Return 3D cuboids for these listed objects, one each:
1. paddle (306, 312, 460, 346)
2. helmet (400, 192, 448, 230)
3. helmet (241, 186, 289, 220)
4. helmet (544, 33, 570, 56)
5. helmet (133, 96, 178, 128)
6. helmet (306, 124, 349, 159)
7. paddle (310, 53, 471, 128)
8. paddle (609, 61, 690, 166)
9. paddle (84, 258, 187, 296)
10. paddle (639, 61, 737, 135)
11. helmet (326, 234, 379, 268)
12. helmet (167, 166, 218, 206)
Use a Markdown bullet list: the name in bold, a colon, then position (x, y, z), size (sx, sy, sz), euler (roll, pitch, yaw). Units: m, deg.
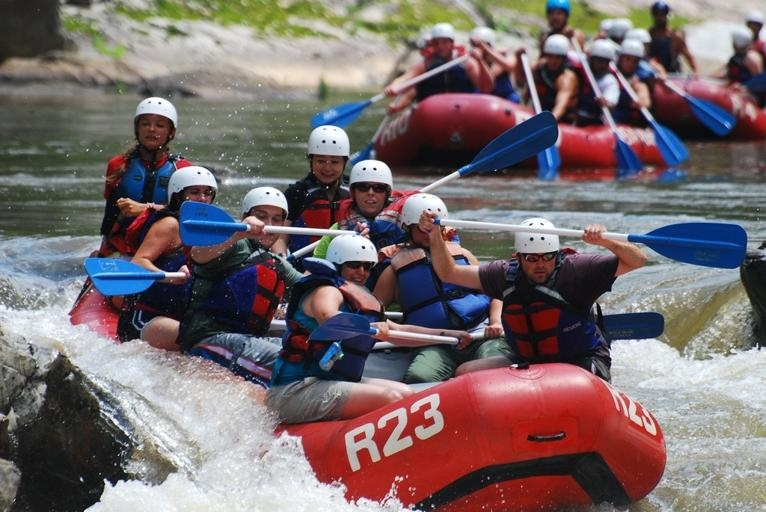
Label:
- **paddle**: position (0.087, 0.664, 10.164), size (1.531, 0.370, 0.077), euler (6, 40, -26)
- **helmet**: position (0.440, -0.434, 10.944), size (0.316, 0.406, 0.302), euler (6, 62, -38)
- **helmet**: position (-1.190, -0.505, 11.192), size (0.298, 0.358, 0.281), euler (2, 31, -24)
- **helmet**: position (2.847, -3.458, 18.374), size (0.393, 0.333, 0.488), euler (6, 13, 6)
- **helmet**: position (-2.475, -1.546, 12.297), size (0.347, 0.306, 0.408), euler (10, 17, -27)
- **helmet**: position (-0.586, -1.249, 12.373), size (0.347, 0.343, 0.393), euler (3, -9, -5)
- **paddle**: position (0.116, -2.269, 15.664), size (2.249, 0.126, 0.299), euler (-22, 35, -10)
- **paddle**: position (4.287, -2.290, 18.334), size (0.135, 0.634, 2.959), euler (31, 21, -35)
- **paddle**: position (-2.458, 0.194, 10.772), size (1.078, 0.141, 0.353), euler (3, 53, -30)
- **paddle**: position (4.846, -2.600, 18.293), size (1.911, 0.178, 0.454), euler (37, -10, 11)
- **helmet**: position (-0.277, -0.062, 10.300), size (0.294, 0.250, 0.361), euler (8, 4, -40)
- **helmet**: position (-1.928, -0.731, 11.370), size (0.458, 0.329, 0.344), euler (24, 20, 40)
